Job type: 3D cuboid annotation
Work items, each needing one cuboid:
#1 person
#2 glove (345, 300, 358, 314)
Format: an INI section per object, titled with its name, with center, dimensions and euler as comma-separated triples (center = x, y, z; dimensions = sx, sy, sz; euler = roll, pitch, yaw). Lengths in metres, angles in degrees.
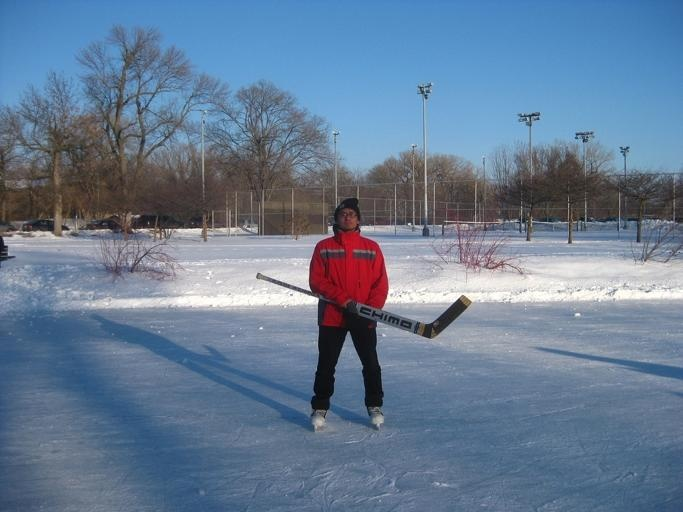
[person]
center = 0.078, 0.549, 8.292
dimensions = 0.807, 2.242, 0.877
euler = -1, 12, 0
[glove]
center = 0.103, 0.513, 8.102
dimensions = 0.118, 0.150, 0.089
euler = 0, 12, 5
